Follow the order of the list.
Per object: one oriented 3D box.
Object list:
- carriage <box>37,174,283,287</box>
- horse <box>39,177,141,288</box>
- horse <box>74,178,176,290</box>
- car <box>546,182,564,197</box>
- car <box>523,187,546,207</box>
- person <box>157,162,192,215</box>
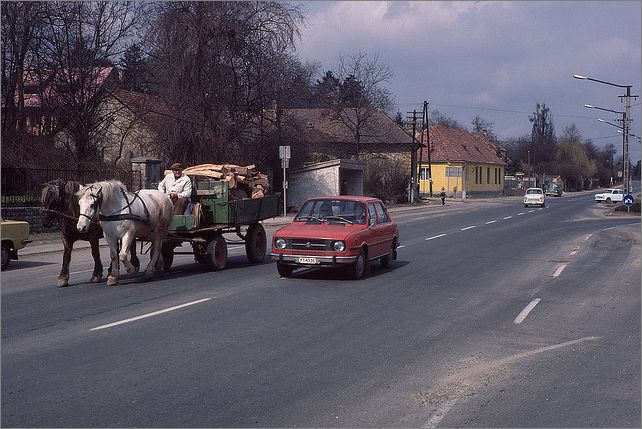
[{"bbox_3d":[-3.866,0.208,15.797,2.846,2.395,6.595,0,-1,27],"label":"carriage"},{"bbox_3d":[-6.045,0.440,13.818,1.386,2.612,0.896,-2,2,-39],"label":"horse"},{"bbox_3d":[-4.825,0.425,14.509,1.144,2.690,3.504,3,5,20],"label":"horse"},{"bbox_3d":[41.003,-4.322,99.041,4.579,2.202,1.940,-3,2,-44],"label":"car"},{"bbox_3d":[20.939,-1.629,55.664,1.689,1.751,2.205,0,2,35],"label":"car"},{"bbox_3d":[-4.009,-0.720,16.138,0.699,1.767,1.169,0,-1,2],"label":"person"}]
